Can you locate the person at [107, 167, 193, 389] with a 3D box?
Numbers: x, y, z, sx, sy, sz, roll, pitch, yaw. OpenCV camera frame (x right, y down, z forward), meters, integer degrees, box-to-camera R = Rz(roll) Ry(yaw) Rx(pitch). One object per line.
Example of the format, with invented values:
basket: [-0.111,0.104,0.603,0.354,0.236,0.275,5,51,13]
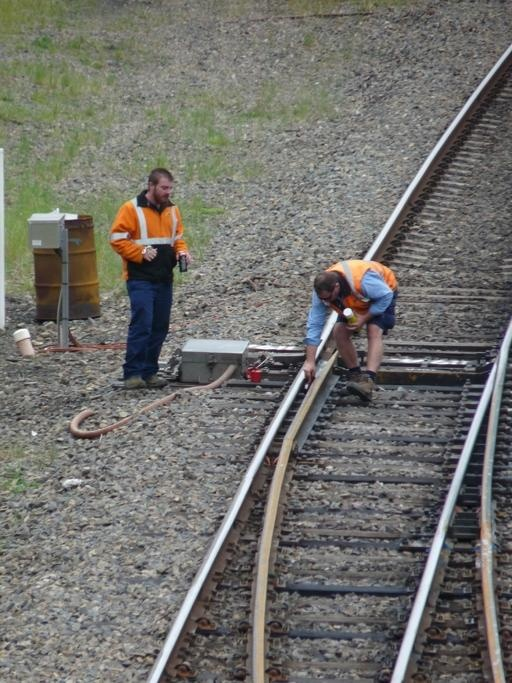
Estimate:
person: [-0.868,-0.497,7.617,0.475,1.792,0.623,11,15,18]

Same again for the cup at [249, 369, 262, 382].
cup: [-0.002,0.275,7.757,0.101,0.109,0.099,5,13,-1]

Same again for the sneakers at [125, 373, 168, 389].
sneakers: [-0.894,0.319,7.776,0.394,0.141,0.117,3,-4,-10]

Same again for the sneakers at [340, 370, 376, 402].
sneakers: [0.785,0.331,7.179,0.142,0.141,0.339,8,-16,21]

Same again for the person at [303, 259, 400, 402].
person: [0.729,-0.108,7.298,0.636,1.016,0.873,7,13,7]

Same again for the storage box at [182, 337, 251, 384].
storage box: [-0.373,0.140,8.090,0.538,0.208,0.391,1,19,7]
